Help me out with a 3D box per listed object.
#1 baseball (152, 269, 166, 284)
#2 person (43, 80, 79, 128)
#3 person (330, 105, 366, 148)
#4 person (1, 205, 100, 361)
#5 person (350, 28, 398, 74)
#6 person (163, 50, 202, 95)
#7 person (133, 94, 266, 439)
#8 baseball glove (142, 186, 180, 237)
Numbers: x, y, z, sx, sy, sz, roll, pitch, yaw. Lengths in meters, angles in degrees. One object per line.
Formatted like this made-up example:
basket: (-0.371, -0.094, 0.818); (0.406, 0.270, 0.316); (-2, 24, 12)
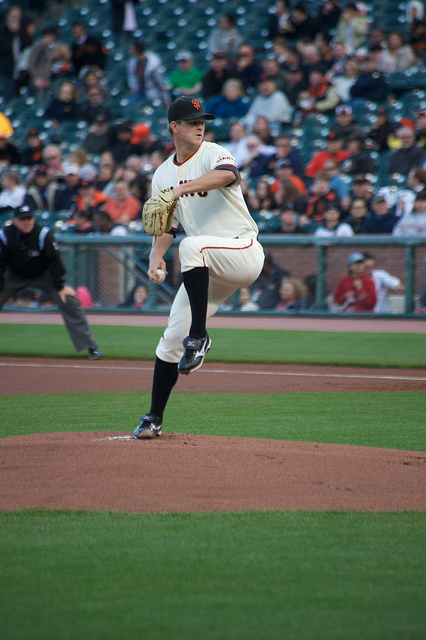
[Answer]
baseball: (-0.254, -0.195, 4.308); (0.061, 0.030, 0.072); (-3, 49, 2)
person: (-2.303, -3.293, 14.429); (0.389, 0.634, 0.896); (-1, 7, -19)
person: (1.562, -2.237, 10.798); (0.350, 0.589, 1.160); (2, 6, 7)
person: (-1.272, -0.272, 7.224); (0.745, 1.189, 0.489); (0, 7, -7)
person: (1.958, -3.283, 11.548); (0.428, 0.608, 1.089); (-5, 26, 7)
person: (-0.430, -3.694, 14.283); (0.464, 0.648, 1.042); (-2, 7, -24)
person: (-0.077, -0.238, 4.374); (0.604, 1.647, 0.756); (2, 7, 2)
baseball glove: (-0.191, -0.482, 4.223); (0.104, 0.214, 0.175); (17, -6, -32)
